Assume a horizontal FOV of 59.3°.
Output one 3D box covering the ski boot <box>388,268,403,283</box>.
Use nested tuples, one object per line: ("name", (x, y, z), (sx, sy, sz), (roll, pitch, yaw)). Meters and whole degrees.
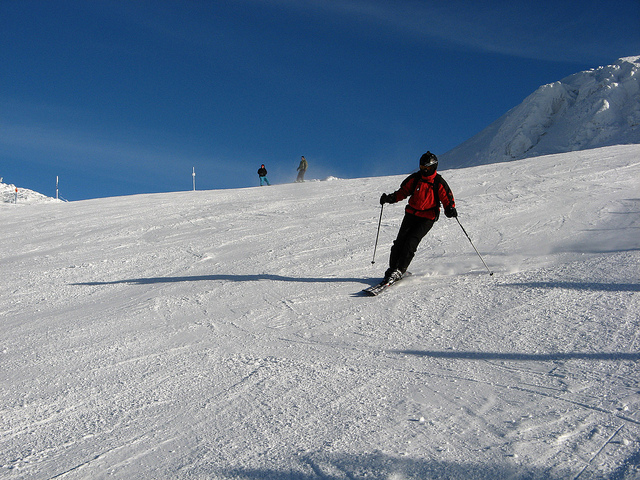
("ski boot", (1.133, 0.526, 8.386), (0.104, 0.127, 0.291), (31, 18, 16))

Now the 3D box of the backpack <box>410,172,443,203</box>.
("backpack", (1.615, -0.851, 8.517), (0.422, 0.403, 0.349), (23, 3, 33))
